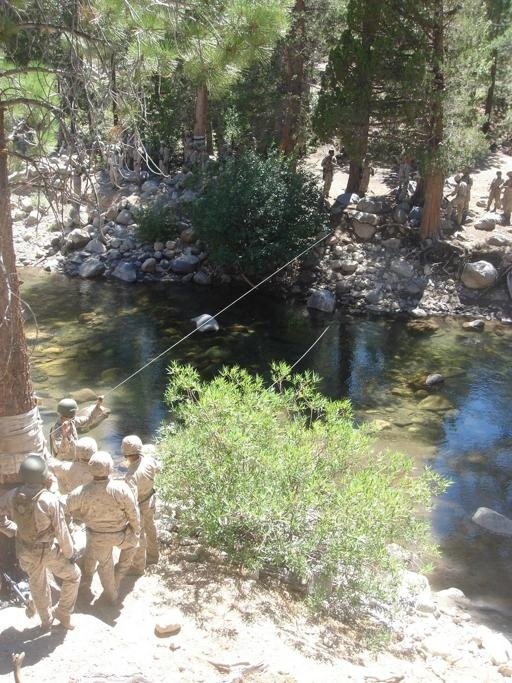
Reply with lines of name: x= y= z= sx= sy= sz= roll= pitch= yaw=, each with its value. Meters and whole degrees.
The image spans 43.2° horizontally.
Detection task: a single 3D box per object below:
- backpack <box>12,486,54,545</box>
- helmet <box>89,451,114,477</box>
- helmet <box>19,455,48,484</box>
backpack: x=-1.739 y=1.384 z=5.048 sx=0.294 sy=0.441 sz=0.150 roll=-1 pitch=14 yaw=-14
helmet: x=-1.284 y=1.006 z=5.418 sx=0.179 sy=0.165 sz=0.222 roll=5 pitch=23 yaw=-7
helmet: x=-1.730 y=1.020 z=5.058 sx=0.205 sy=0.230 sz=0.246 roll=6 pitch=-31 yaw=-13
